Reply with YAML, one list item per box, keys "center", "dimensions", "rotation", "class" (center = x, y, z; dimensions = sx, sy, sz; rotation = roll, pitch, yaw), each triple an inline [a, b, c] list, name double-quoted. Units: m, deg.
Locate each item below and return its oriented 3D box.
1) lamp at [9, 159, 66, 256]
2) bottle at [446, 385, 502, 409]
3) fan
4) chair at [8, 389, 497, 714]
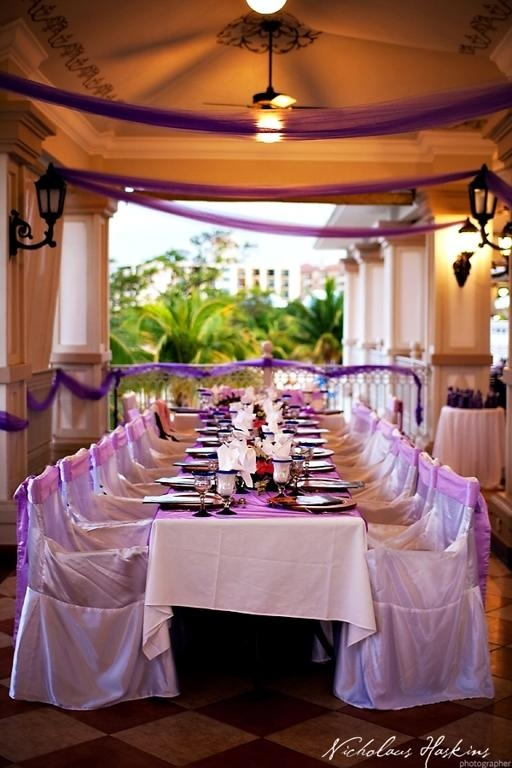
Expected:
- center: [-1.513, -1.209, 4.060]
  dimensions: [0.338, 0.763, 0.933]
  rotation: [2, -5, -18]
  class: "lamp"
- center: [2.211, 0.178, 5.867]
  dimensions: [0.399, 0.161, 0.287]
  rotation: [4, -2, 5]
  class: "bottle"
- center: [0.129, -2.755, 5.208]
  dimensions: [0.783, 0.922, 0.893]
  rotation: [4, -6, -39]
  class: "fan"
- center: [0.003, 0.642, 2.841]
  dimensions: [1.767, 1.076, 1.850]
  rotation: [0, -5, 2]
  class: "chair"
